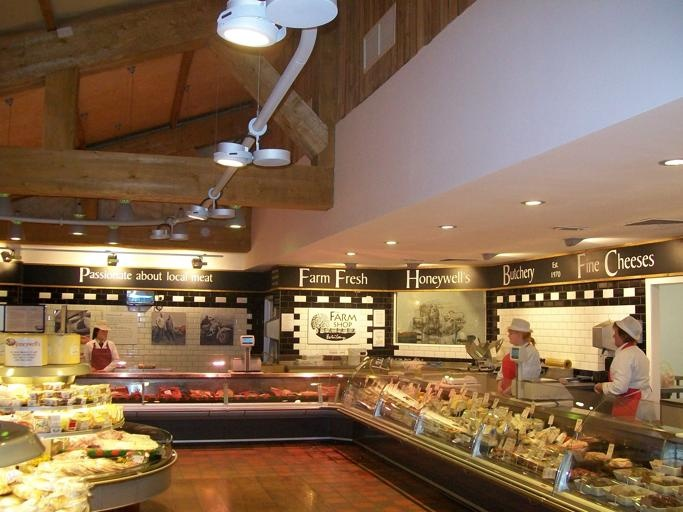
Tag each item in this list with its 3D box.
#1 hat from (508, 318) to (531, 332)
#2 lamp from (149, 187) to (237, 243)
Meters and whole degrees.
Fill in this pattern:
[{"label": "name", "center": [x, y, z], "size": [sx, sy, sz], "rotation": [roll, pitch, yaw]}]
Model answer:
[{"label": "hat", "center": [2.262, 0.898, 6.761], "size": [0.283, 0.095, 0.227], "rotation": [9, -6, 1]}, {"label": "lamp", "center": [-2.194, -0.507, 7.900], "size": [0.720, 0.882, 2.331], "rotation": [11, -6, -38]}]
